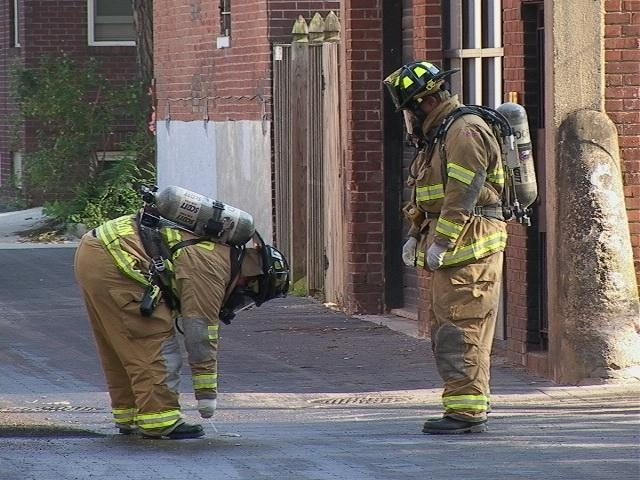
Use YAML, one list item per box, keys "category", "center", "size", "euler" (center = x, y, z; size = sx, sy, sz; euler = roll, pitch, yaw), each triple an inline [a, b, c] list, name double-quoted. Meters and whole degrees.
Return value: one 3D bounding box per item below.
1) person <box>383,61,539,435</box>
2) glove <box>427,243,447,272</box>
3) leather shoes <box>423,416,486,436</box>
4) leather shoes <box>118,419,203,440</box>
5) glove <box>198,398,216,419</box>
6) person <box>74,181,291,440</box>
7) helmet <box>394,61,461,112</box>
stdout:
- category: "person"
  center: [1.067, 0.039, 10.088]
  size: [0.829, 2.791, 0.855]
  euler: [3, 5, 28]
- category: "glove"
  center: [0.874, 0.125, 9.825]
  size: [0.147, 0.214, 0.177]
  euler: [1, 4, 3]
- category: "leather shoes"
  center: [0.998, 1.391, 9.816]
  size: [0.446, 0.157, 0.157]
  euler: [3, -3, -4]
- category: "leather shoes"
  center: [-1.188, 1.407, 9.760]
  size: [0.675, 0.216, 0.192]
  euler: [0, 4, -5]
- category: "glove"
  center: [-0.828, 1.239, 9.685]
  size: [0.183, 0.147, 0.153]
  euler: [0, 1, 10]
- category: "person"
  center: [-1.066, 0.545, 9.784]
  size: [1.489, 1.864, 0.618]
  euler: [0, 4, -9]
- category: "helmet"
  center: [0.743, -1.219, 10.058]
  size: [0.501, 0.236, 0.329]
  euler: [-30, 16, 6]
